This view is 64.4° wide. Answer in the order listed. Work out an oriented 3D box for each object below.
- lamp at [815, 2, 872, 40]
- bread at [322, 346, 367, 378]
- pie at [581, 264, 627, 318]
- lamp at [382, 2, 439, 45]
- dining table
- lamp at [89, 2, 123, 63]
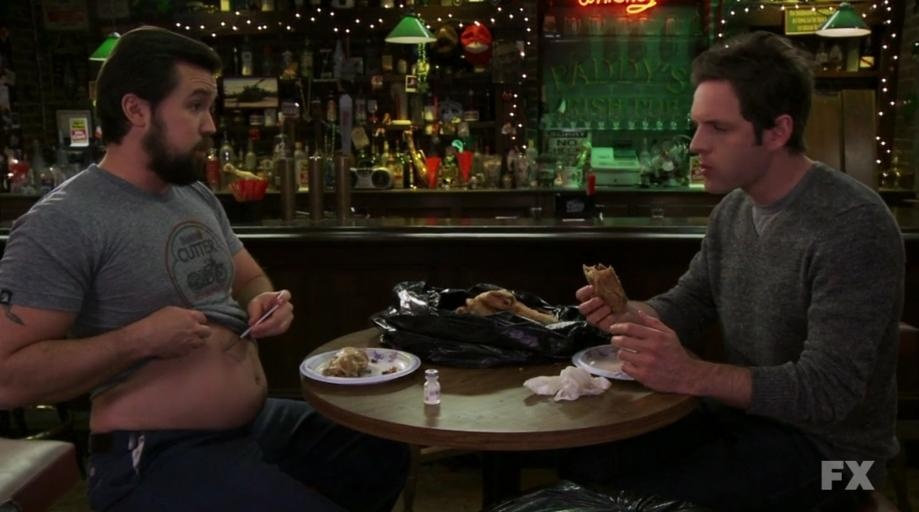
[{"bbox_3d":[3.507,-2.134,6.685,0.462,0.249,0.447,-16,22,-37],"label":"lamp"},{"bbox_3d":[-0.470,0.439,3.027,0.137,0.045,0.134,5,9,25],"label":"bread"},{"bbox_3d":[0.666,0.157,3.223,0.166,0.252,0.077,-41,11,-25],"label":"pie"},{"bbox_3d":[-0.466,-2.097,6.626,0.524,0.482,0.487,-4,25,-12],"label":"lamp"},{"bbox_3d":[0.195,0.658,3.013,1.079,0.662,1.006,-1,5,-1],"label":"dining table"},{"bbox_3d":[-3.230,-2.065,6.867,0.401,0.383,0.390,1,17,-21],"label":"lamp"}]
